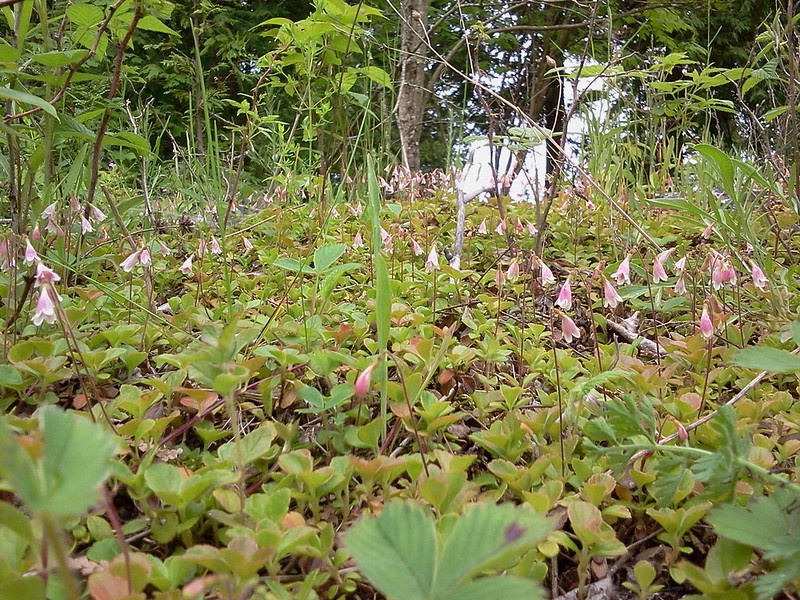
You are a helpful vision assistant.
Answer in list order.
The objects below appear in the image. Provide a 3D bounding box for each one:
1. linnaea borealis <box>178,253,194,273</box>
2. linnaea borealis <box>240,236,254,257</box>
[{"bbox_3d":[-1.113,-0.184,3.456,0.068,0.076,0.163,4,26,-14],"label":"linnaea borealis"},{"bbox_3d":[-0.944,-0.346,4.075,0.081,0.058,0.157,-30,9,-11],"label":"linnaea borealis"}]
